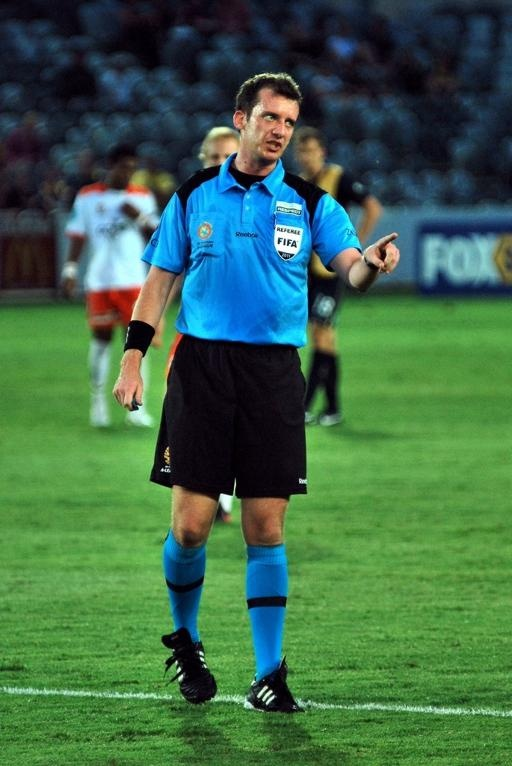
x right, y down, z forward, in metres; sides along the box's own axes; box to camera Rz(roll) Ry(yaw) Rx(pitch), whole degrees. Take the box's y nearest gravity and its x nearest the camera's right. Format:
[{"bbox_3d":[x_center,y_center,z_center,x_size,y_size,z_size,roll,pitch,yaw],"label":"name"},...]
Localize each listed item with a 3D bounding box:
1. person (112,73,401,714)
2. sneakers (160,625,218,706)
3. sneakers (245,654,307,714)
[{"bbox_3d":[-0.015,0.011,2.312,0.658,1.591,0.365,1,5,5],"label":"person"},{"bbox_3d":[-0.186,0.719,2.352,0.107,0.089,0.193,-26,38,4],"label":"sneakers"},{"bbox_3d":[0.044,0.731,2.234,0.139,0.111,0.087,0,5,-1],"label":"sneakers"}]
